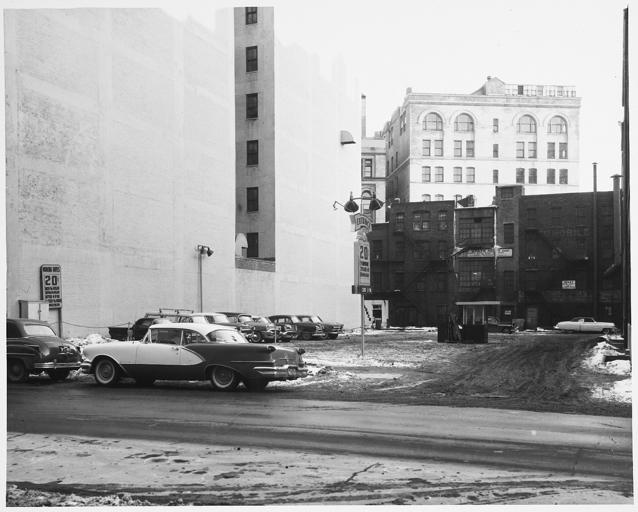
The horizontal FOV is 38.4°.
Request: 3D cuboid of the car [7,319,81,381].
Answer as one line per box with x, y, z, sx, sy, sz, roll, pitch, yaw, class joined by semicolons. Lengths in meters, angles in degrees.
-7.651;2.620;25.611;2.441;1.155;1.425;-1;-5;21;car
